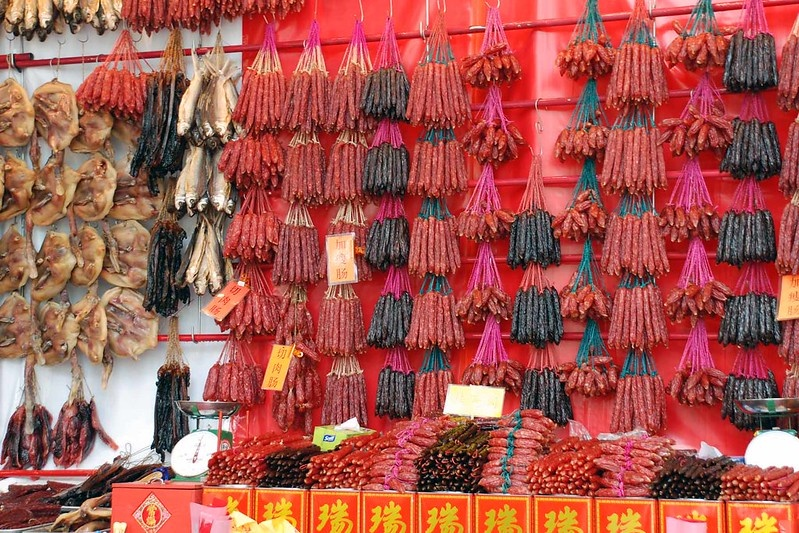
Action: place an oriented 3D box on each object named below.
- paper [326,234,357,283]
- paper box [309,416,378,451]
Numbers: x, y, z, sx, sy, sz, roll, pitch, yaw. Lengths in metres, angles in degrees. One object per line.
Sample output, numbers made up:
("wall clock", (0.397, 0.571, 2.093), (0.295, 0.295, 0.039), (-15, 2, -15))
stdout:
("paper", (-0.389, -0.036, 6.701), (0.246, 0.480, 0.049), (-3, -4, 18))
("paper box", (-0.349, 1.036, 5.918), (0.368, 0.113, 0.562), (-3, 8, -16))
